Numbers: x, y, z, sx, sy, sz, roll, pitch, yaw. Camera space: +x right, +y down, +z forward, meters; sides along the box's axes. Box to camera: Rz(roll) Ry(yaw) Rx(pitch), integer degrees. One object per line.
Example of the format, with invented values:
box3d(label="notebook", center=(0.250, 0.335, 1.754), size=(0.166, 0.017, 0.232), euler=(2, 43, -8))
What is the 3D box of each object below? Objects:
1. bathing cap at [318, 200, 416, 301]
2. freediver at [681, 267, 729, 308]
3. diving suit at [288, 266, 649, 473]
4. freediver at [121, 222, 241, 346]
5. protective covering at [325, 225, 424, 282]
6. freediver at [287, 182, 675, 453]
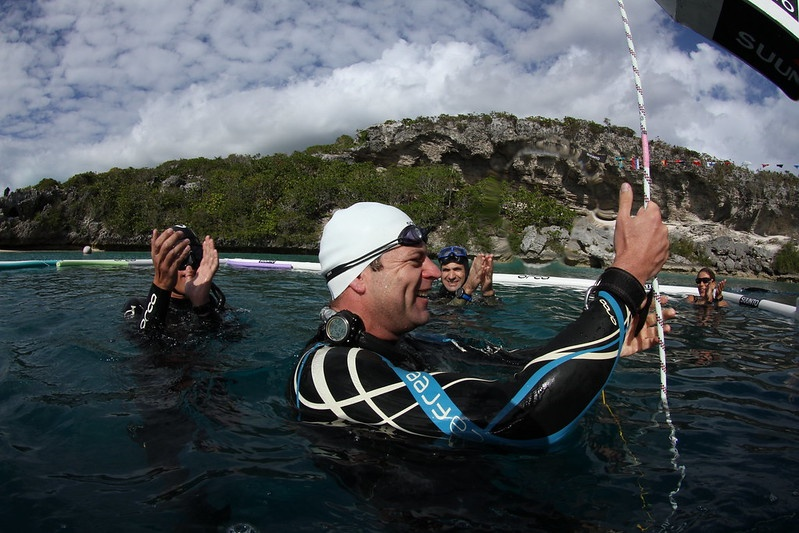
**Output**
box3d(label="bathing cap", center=(-0.170, -0.134, 3.433), size=(0.827, 0.592, 0.608), euler=(-10, 5, 6))
box3d(label="freediver", center=(5.909, 0.397, 9.049), size=(0.630, 0.749, 0.914), euler=(10, 13, 34))
box3d(label="diving suit", center=(0.336, 0.684, 2.873), size=(1.800, 0.540, 1.216), euler=(-8, -12, 7))
box3d(label="freediver", center=(-2.169, 0.131, 4.724), size=(0.962, 1.155, 1.533), euler=(-3, 11, -27))
box3d(label="protective covering", center=(-0.153, -0.133, 3.148), size=(0.545, 0.084, 0.346), euler=(-20, -2, 9))
box3d(label="freediver", center=(0.587, 0.343, 3.333), size=(2.532, 1.429, 1.711), euler=(-8, 2, 26))
